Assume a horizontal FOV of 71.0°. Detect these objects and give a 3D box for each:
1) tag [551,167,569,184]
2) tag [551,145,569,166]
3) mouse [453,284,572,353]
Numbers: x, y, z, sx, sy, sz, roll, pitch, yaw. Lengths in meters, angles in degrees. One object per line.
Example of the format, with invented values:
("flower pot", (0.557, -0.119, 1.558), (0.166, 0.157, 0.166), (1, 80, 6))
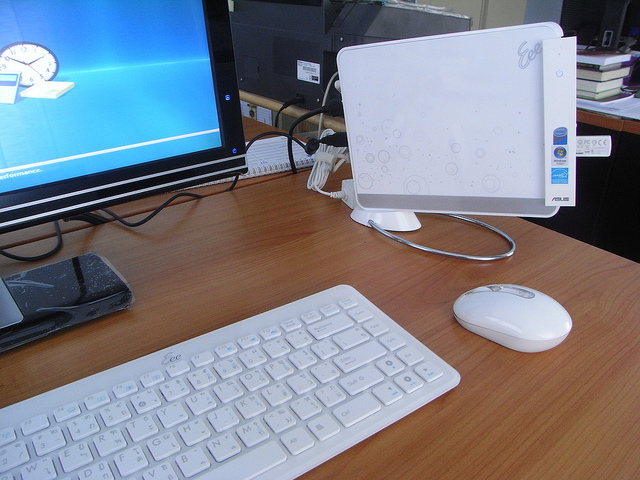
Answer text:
("tag", (0.327, -0.089, 0.615), (0.026, 0.023, 0.002), (6, 31, 25))
("tag", (0.324, -0.115, 0.609), (0.025, 0.031, 0.003), (18, 43, 34))
("mouse", (0.227, 0.080, 0.541), (0.079, 0.034, 0.105), (-25, 39, -35))
